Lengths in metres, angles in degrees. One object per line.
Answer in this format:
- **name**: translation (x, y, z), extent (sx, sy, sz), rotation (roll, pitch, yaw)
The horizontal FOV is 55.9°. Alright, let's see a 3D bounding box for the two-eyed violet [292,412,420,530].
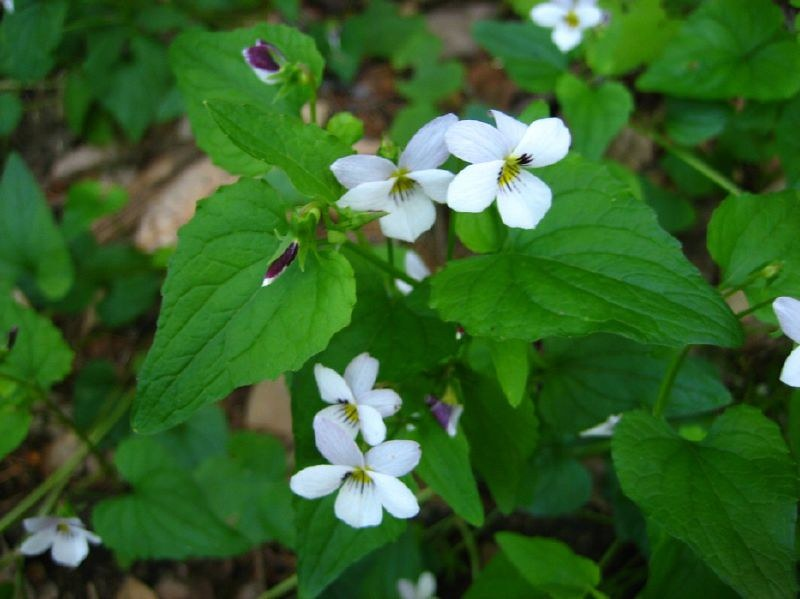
- **two-eyed violet**: translation (-0.098, 0.418, 1.818), extent (0.267, 0.291, 0.086), rotation (-40, -13, 14)

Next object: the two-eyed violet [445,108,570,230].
- **two-eyed violet**: translation (0.262, -0.350, 1.808), extent (0.281, 0.090, 0.297), rotation (14, -7, -17)
